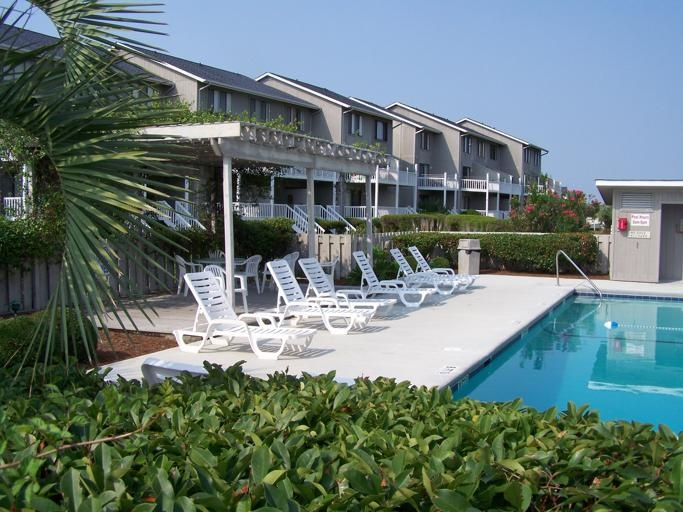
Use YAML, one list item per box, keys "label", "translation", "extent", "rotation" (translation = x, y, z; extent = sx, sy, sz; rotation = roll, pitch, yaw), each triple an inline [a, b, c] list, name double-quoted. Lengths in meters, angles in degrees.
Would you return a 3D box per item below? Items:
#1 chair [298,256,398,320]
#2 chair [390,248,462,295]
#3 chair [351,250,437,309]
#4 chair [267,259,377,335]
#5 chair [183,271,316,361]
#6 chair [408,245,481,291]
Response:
- label: "chair"
  translation: [0.034, 0.654, 11.790]
  extent: [1.891, 1.374, 1.123]
  rotation: [-1, 0, 23]
- label: "chair"
  translation: [2.151, 0.447, 15.673]
  extent: [1.735, 1.197, 1.026]
  rotation: [-1, 0, 26]
- label: "chair"
  translation: [1.122, 0.584, 13.965]
  extent: [1.999, 1.541, 1.095]
  rotation: [-1, 0, 21]
- label: "chair"
  translation: [-0.417, 0.729, 10.655]
  extent: [1.968, 1.488, 1.097]
  rotation: [-1, 1, 21]
- label: "chair"
  translation: [-1.392, 0.896, 8.948]
  extent: [2.001, 1.350, 1.135]
  rotation: [-1, 0, 21]
- label: "chair"
  translation: [2.933, 0.421, 17.165]
  extent: [1.891, 1.453, 1.126]
  rotation: [-2, 0, 23]
